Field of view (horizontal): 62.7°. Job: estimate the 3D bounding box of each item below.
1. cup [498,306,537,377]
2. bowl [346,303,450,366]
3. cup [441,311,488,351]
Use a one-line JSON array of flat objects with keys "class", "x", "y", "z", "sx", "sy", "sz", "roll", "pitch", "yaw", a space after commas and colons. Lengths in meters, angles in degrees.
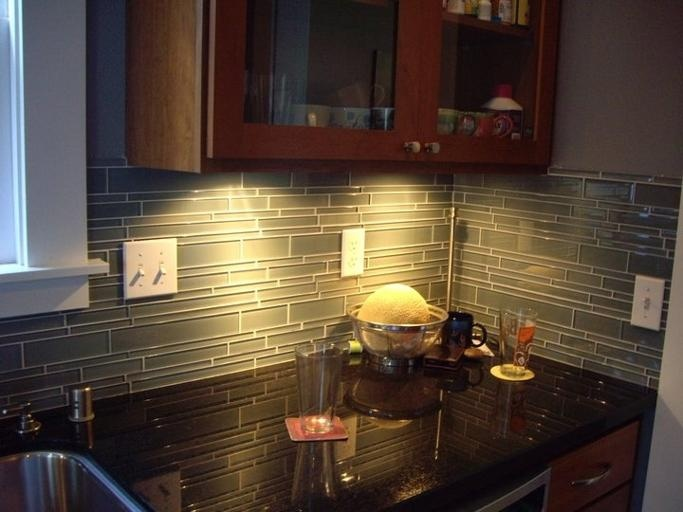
[{"class": "cup", "x": 0.548, "y": 0.256, "z": 1.749, "sx": 0.099, "sy": 0.204, "sz": 0.191, "roll": 0, "pitch": 10, "yaw": 16}, {"class": "bowl", "x": 0.162, "y": 0.211, "z": 1.708, "sx": 0.208, "sy": 0.087, "sz": 0.203, "roll": 0, "pitch": 2, "yaw": 0}, {"class": "cup", "x": 0.398, "y": 0.245, "z": 1.839, "sx": 0.159, "sy": 0.149, "sz": 0.100, "roll": 2, "pitch": 4, "yaw": -10}]
